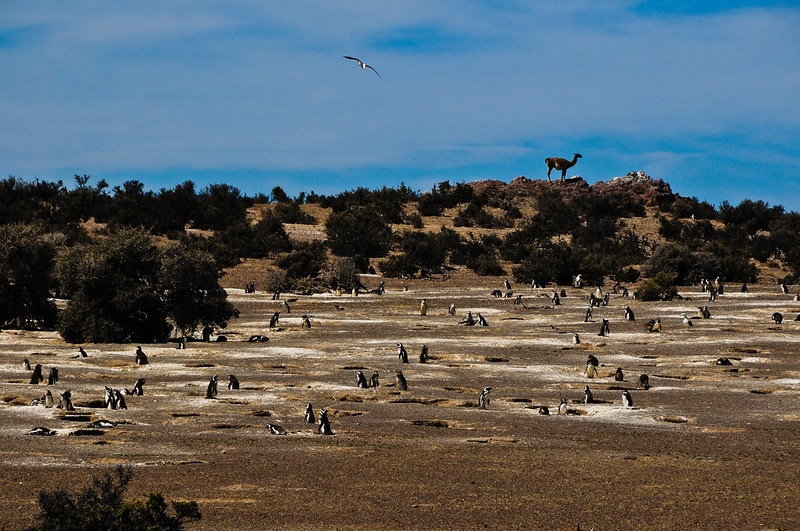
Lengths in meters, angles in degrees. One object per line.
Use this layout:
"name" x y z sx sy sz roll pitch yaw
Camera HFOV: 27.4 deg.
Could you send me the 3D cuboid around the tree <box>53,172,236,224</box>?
"tree" -19.720 -4.974 131.898 14.242 2.978 12.002 0 -1 -12
